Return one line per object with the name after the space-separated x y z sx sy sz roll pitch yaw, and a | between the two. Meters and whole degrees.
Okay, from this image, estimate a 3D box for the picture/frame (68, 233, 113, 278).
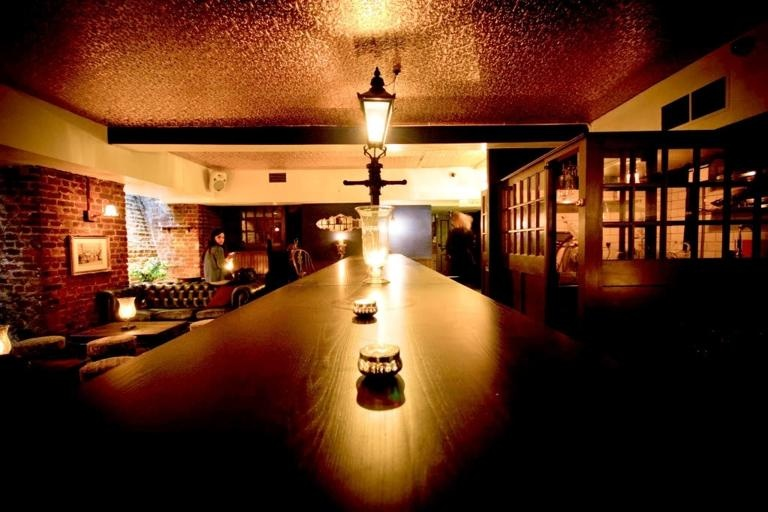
-3.438 -0.020 6.029 0.624 0.442 0.051 -2 0 20 | picture/frame
